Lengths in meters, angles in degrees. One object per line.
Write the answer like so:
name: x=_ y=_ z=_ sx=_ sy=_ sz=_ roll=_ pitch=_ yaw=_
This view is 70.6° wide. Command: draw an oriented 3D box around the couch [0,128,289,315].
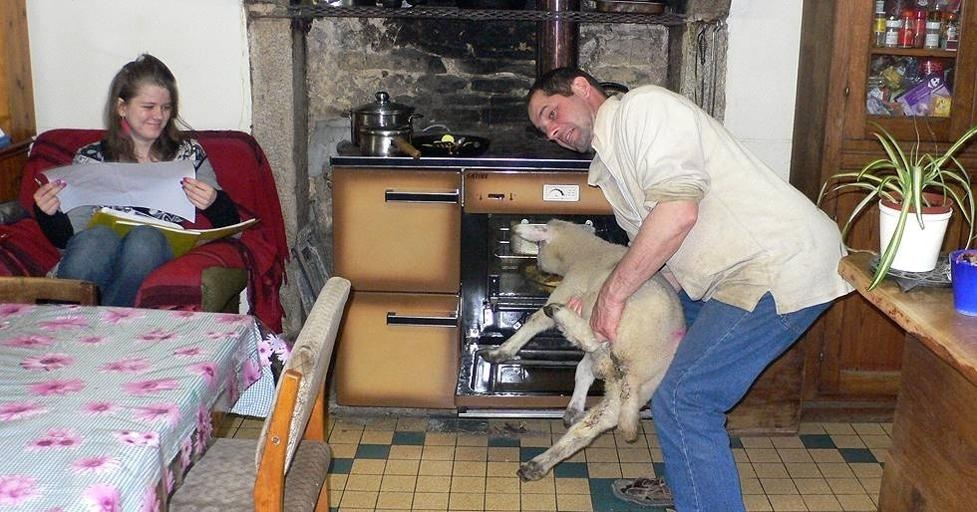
couch: x=-1.901 y=-0.203 z=4.056 sx=1.626 sy=0.986 sz=1.124 roll=0 pitch=10 yaw=-6

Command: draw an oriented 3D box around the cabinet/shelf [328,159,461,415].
cabinet/shelf: x=-0.494 y=0.181 z=3.788 sx=0.723 sy=1.328 sz=0.330 roll=0 pitch=20 yaw=6

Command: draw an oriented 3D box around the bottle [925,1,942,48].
bottle: x=2.426 y=-1.259 z=3.750 sx=0.095 sy=0.242 sz=0.080 roll=-20 pitch=26 yaw=-39

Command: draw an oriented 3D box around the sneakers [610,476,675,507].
sneakers: x=0.783 y=1.178 z=3.462 sx=0.205 sy=0.058 sz=0.135 roll=2 pitch=21 yaw=5

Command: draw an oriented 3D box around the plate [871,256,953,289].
plate: x=1.623 y=0.077 z=2.576 sx=0.171 sy=0.035 sz=0.158 roll=-5 pitch=14 yaw=-9

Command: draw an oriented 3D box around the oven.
oven: x=0.370 y=0.135 z=4.007 sx=1.036 sy=1.304 sz=1.281 roll=0 pitch=22 yaw=0

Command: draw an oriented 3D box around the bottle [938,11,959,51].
bottle: x=2.491 y=-1.202 z=3.714 sx=0.074 sy=0.190 sz=0.098 roll=6 pitch=22 yaw=22

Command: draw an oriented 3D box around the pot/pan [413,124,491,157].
pot/pan: x=-0.207 y=-0.614 z=3.834 sx=0.376 sy=0.072 sz=0.337 roll=0 pitch=11 yaw=-12

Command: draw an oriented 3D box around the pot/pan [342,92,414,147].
pot/pan: x=-0.594 y=-0.764 z=3.880 sx=0.304 sy=0.231 sz=0.350 roll=-1 pitch=17 yaw=-3

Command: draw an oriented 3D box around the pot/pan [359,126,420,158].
pot/pan: x=-0.540 y=-0.609 z=3.704 sx=0.299 sy=0.149 sz=0.294 roll=-5 pitch=19 yaw=-10
